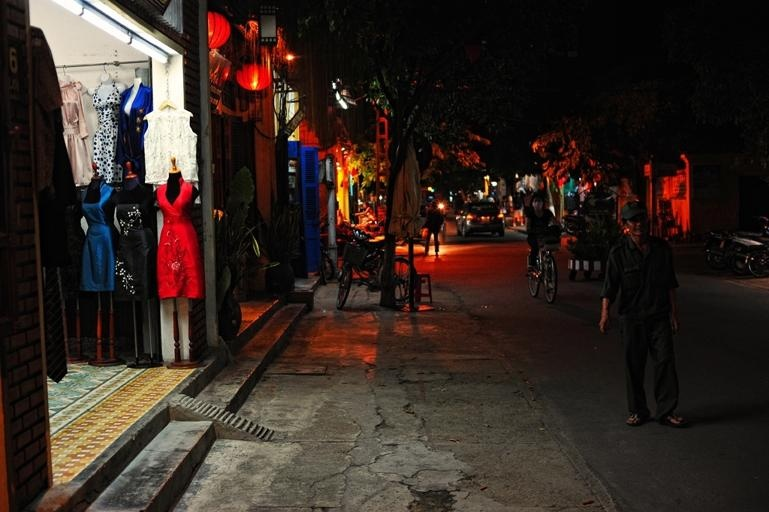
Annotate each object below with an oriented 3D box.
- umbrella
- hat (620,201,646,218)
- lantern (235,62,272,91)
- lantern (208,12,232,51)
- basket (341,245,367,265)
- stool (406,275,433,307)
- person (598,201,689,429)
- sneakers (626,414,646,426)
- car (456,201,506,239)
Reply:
[{"bbox_3d":[0.429,-0.771,14.226,0.869,3.804,1.540,-1,6,8],"label":"umbrella"},{"bbox_3d":[2.808,-0.512,6.697,0.237,0.210,0.245,1,6,23],"label":"hat"},{"bbox_3d":[-3.011,-4.076,13.660,0.660,0.505,0.626,-3,15,-15],"label":"lantern"},{"bbox_3d":[-3.129,-4.224,11.172,0.263,0.754,0.592,0,6,15],"label":"lantern"},{"bbox_3d":[-0.720,-0.047,14.572,0.565,0.493,0.406,-2,6,-7],"label":"basket"},{"bbox_3d":[0.879,0.812,14.634,0.679,0.928,0.662,-3,-1,41],"label":"stool"},{"bbox_3d":[2.930,0.631,6.709,0.852,2.477,0.458,1,6,26],"label":"person"},{"bbox_3d":[2.857,1.839,6.741,0.100,0.104,0.241,-3,-8,19],"label":"sneakers"},{"bbox_3d":[6.403,-2.430,38.992,2.619,2.337,2.632,-2,6,0],"label":"car"}]
